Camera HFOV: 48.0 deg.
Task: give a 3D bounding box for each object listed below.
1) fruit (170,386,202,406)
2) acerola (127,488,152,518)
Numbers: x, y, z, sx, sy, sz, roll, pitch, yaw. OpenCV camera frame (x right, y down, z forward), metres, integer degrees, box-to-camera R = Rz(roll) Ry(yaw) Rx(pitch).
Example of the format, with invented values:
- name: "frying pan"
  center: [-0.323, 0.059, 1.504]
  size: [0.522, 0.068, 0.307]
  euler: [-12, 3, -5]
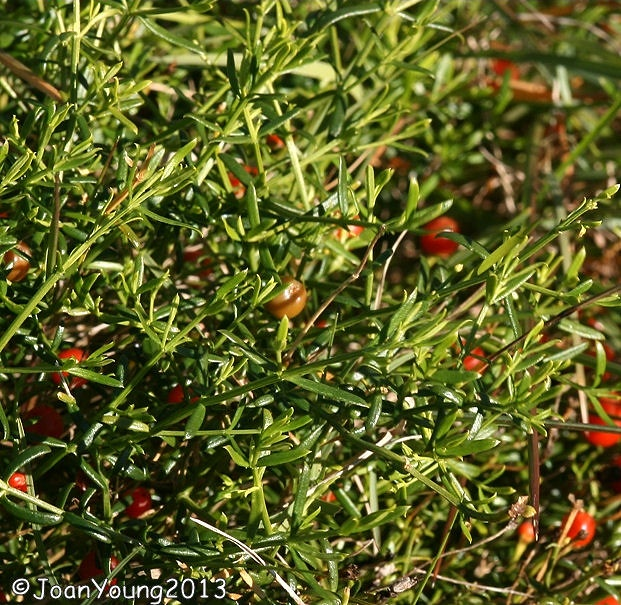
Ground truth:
- name: "fruit"
  center: [-0.098, 0.074, 0.550]
  size: [0.016, 0.018, 0.016]
  euler: [-40, 77, -19]
- name: "acerola"
  center: [-0.153, 0.177, 0.615]
  size: [0.024, 0.024, 0.020]
  euler: [20, 42, -3]
